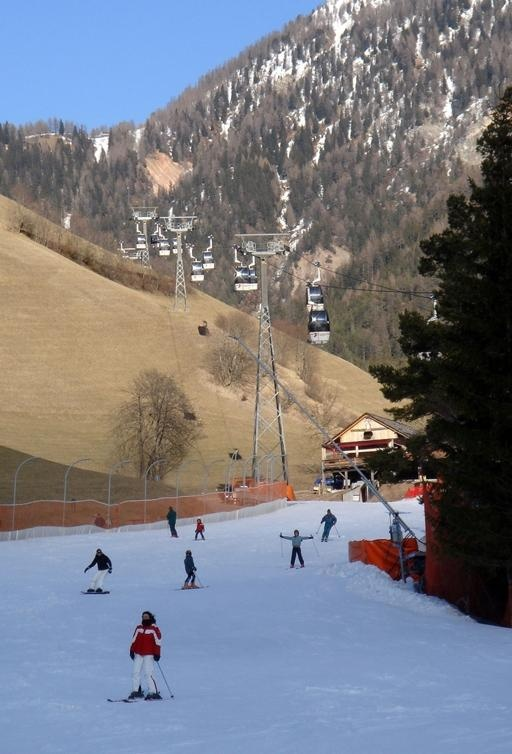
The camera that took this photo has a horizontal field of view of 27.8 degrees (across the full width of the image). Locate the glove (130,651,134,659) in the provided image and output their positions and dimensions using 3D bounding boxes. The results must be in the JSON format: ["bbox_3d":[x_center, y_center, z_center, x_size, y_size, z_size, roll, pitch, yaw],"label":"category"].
[{"bbox_3d":[-2.105,4.771,17.654,0.068,0.157,0.305,1,-7,-12],"label":"glove"}]

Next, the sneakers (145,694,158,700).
[{"bbox_3d":[-1.802,5.605,17.977,0.097,0.057,0.161,3,-1,-1],"label":"sneakers"}]

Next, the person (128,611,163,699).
[{"bbox_3d":[-1.990,4.962,18.501,0.571,1.536,2.192,0,-7,-7],"label":"person"}]
